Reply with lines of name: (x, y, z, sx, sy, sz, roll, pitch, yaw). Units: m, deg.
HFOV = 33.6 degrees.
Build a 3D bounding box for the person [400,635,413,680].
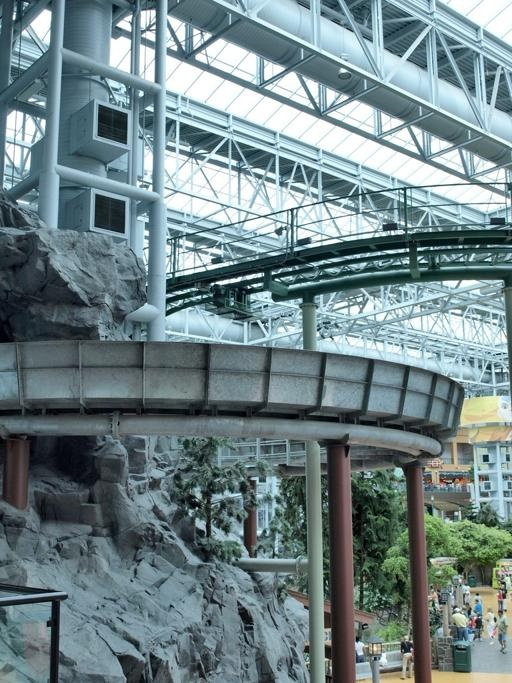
person: (4.536, 9.496, 25.368, 0.333, 0.956, 1.156, 2, -3, 10)
